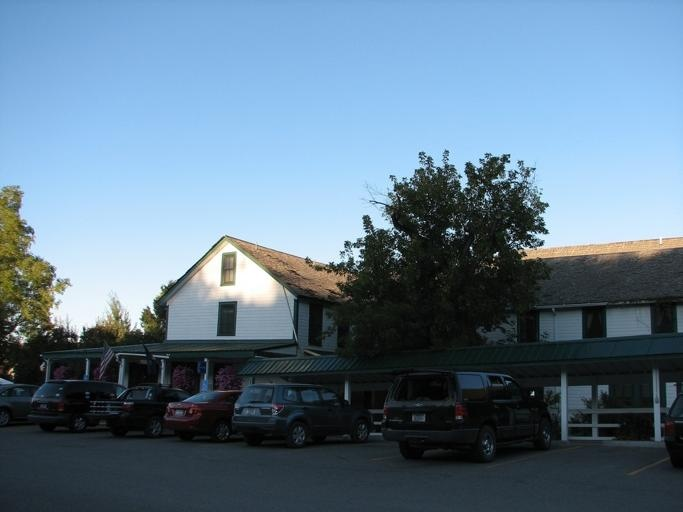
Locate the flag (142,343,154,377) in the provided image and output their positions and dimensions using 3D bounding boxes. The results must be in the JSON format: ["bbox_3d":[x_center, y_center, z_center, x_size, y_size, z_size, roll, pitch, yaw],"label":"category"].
[{"bbox_3d":[-9.719,5.267,38.373,0.593,1.633,3.916,4,-13,-15],"label":"flag"}]

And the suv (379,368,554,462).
[{"bbox_3d":[4.149,4.744,22.038,5.914,2.461,2.178,8,-14,-30],"label":"suv"}]
